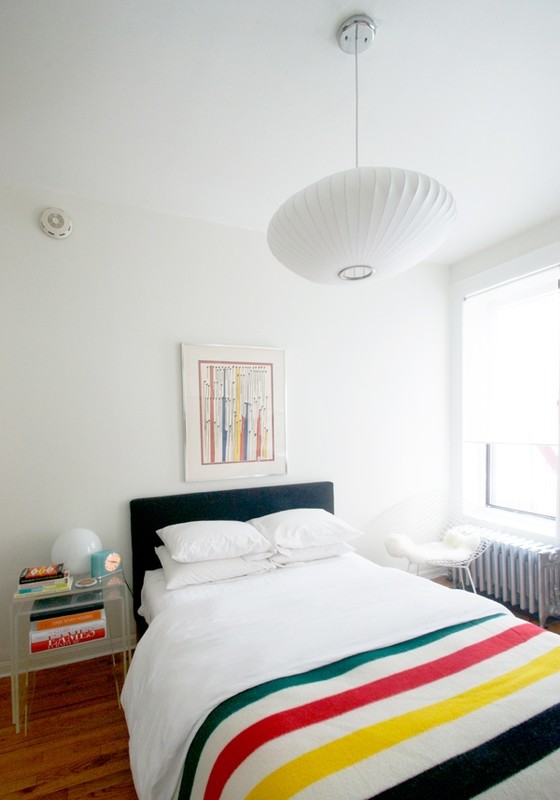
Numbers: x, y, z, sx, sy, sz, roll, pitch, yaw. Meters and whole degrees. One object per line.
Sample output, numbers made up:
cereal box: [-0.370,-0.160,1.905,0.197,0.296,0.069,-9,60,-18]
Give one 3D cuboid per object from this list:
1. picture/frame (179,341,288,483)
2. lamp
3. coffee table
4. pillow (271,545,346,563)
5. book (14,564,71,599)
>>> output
picture/frame: [-0.298,0.073,3.439,0.817,0.990,0.034,1,-4,-31]
lamp: [0.254,-0.876,2.224,0.725,1.220,0.768,0,-11,3]
coffee table: [-1.055,1.013,2.760,0.649,0.764,0.540,1,-6,-33]
pillow: [0.152,0.827,3.124,0.379,0.092,0.091,2,-2,-33]
book: [-1.044,0.810,2.611,0.227,0.065,0.247,-2,5,-23]
